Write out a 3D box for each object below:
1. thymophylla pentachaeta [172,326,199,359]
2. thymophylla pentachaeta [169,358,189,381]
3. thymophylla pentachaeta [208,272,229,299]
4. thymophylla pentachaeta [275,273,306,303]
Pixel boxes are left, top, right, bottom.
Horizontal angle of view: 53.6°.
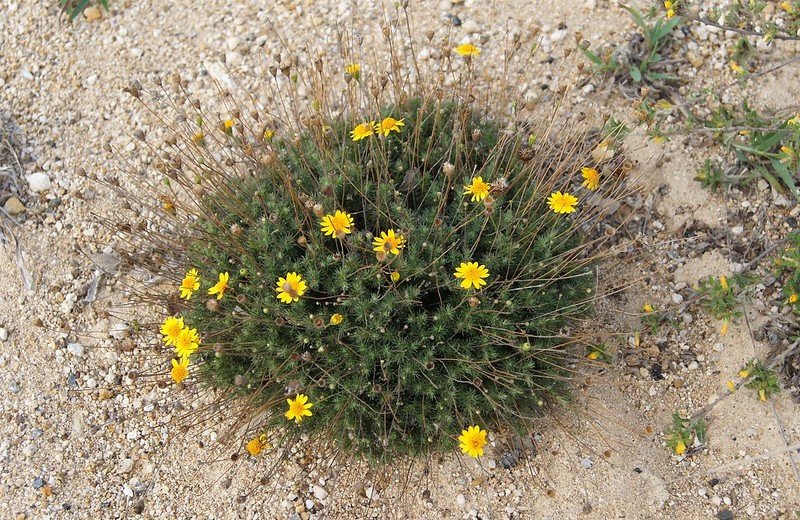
[{"bbox_3d":[-1.811,0.695,6.710,0.215,0.157,0.216,-41,84,-5],"label":"thymophylla pentachaeta"},{"bbox_3d":[-1.885,0.940,6.754,0.155,0.142,0.207,4,83,1],"label":"thymophylla pentachaeta"},{"bbox_3d":[-1.537,0.220,6.812,0.100,0.214,0.239,23,93,-14],"label":"thymophylla pentachaeta"},{"bbox_3d":[-0.905,0.233,6.607,0.240,0.104,0.262,26,89,22],"label":"thymophylla pentachaeta"}]
